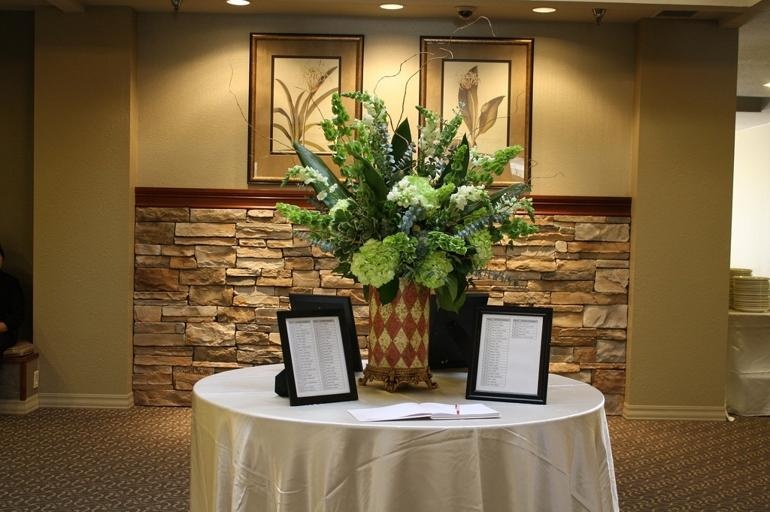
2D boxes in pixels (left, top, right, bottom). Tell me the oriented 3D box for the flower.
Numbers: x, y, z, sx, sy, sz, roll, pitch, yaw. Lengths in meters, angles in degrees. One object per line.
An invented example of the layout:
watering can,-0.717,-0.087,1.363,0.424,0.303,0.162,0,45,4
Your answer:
flower,0.323,-0.271,3.002,1.493,1.035,1.426,0,15,26

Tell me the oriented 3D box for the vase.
vase,-0.077,0.422,2.904,0.543,0.550,0.505,1,-8,-21

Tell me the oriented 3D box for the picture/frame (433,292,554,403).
picture/frame,0.500,0.464,2.754,0.563,0.338,0.159,4,-4,10
